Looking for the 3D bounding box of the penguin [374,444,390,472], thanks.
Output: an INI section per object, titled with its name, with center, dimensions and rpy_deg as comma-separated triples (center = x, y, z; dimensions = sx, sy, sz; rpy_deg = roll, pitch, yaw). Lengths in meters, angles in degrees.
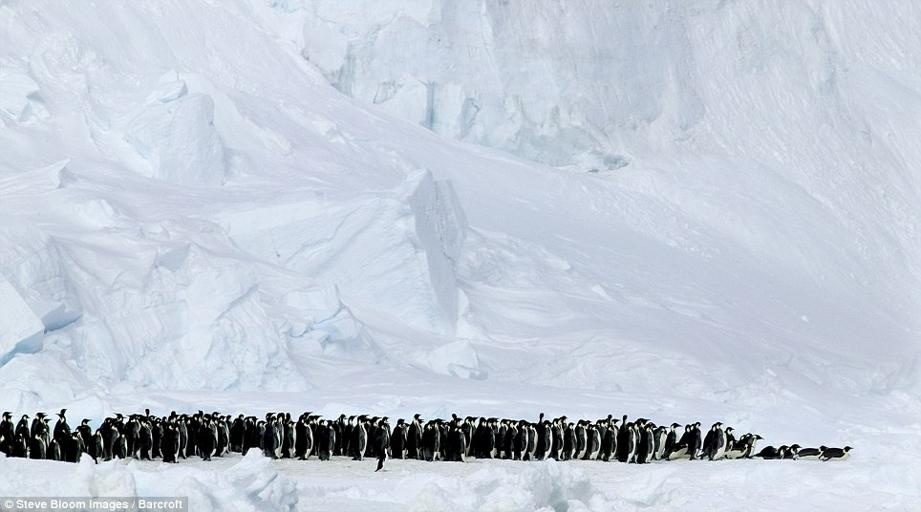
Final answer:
[penguin]
center = -2.831, 7.152, 48.601
dimensions = 0.478, 0.742, 0.340
rpy_deg = 1, 0, -43
